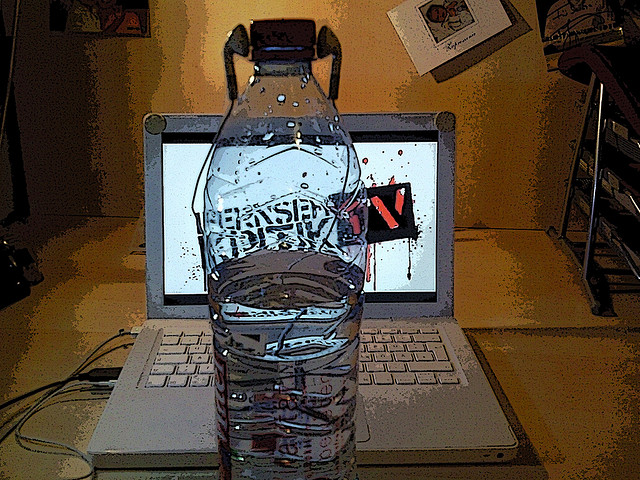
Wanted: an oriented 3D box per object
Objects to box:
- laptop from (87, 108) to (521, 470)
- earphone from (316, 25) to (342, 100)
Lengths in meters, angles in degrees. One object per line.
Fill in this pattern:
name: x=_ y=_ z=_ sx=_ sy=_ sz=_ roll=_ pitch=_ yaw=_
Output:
laptop: x=-0.033 y=0.104 z=1.079 sx=0.660 sy=0.409 sz=0.585 roll=-1 pitch=7 yaw=-3
earphone: x=0.008 y=-0.282 z=0.911 sx=0.049 sy=0.116 sz=0.051 roll=1 pitch=3 yaw=-23
